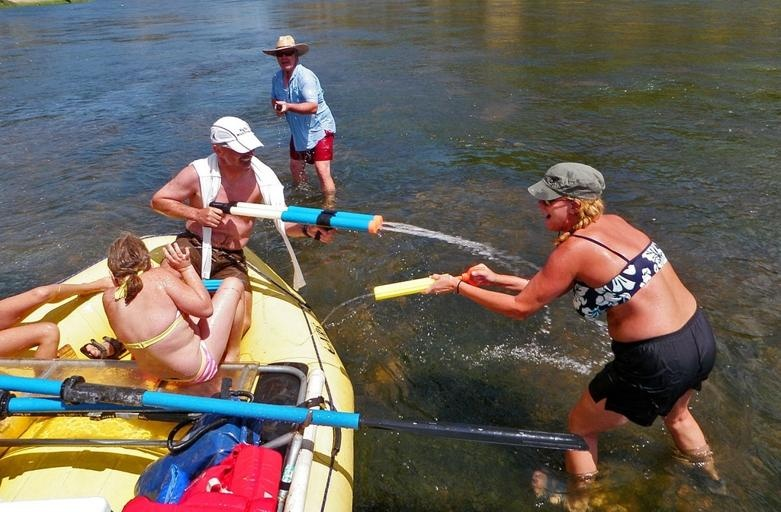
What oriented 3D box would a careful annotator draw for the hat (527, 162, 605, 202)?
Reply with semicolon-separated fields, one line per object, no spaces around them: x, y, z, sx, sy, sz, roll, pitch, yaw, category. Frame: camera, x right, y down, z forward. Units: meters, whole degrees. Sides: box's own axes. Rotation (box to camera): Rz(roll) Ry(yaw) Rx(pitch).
1.640;-0.707;5.651;0.627;0.196;0.374;1;16;6;hat

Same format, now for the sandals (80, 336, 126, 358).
-3.132;1.043;6.620;0.257;0.129;0.430;29;19;24;sandals

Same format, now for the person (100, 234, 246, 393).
-2.230;0.573;6.010;0.974;1.495;0.922;2;36;8;person

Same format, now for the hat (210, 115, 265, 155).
-1.767;-1.384;6.708;0.629;0.259;0.384;9;28;7;hat

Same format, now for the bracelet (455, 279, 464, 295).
0.692;0.314;6.157;0.036;0.120;0.112;22;51;-5;bracelet
